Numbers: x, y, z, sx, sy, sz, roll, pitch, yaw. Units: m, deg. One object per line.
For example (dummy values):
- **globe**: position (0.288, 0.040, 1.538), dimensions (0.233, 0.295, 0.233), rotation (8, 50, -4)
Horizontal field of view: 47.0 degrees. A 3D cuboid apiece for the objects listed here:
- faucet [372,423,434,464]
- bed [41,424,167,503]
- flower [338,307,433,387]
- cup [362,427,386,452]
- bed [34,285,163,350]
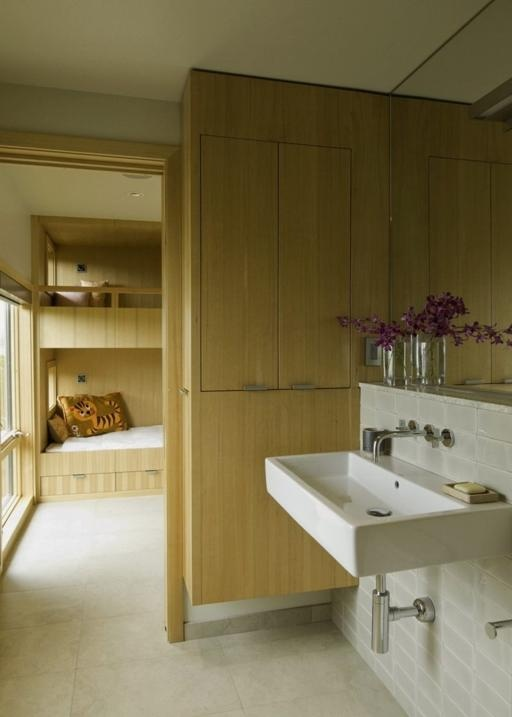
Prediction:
- **faucet**: position (0.431, 0.264, 1.848), dimensions (0.226, 0.129, 0.086), rotation (-1, 0, -21)
- **bed**: position (-1.215, 0.869, 4.791), dimensions (0.915, 0.419, 0.514), rotation (-1, 3, -10)
- **flower**: position (0.455, -0.046, 2.115), dimensions (0.264, 0.261, 0.237), rotation (-3, 4, -11)
- **cup**: position (0.398, 0.280, 2.052), dimensions (0.081, 0.095, 0.085), rotation (0, 2, 0)
- **bed**: position (-1.325, -0.327, 5.056), dimensions (0.935, 0.510, 0.879), rotation (-1, 3, -16)
